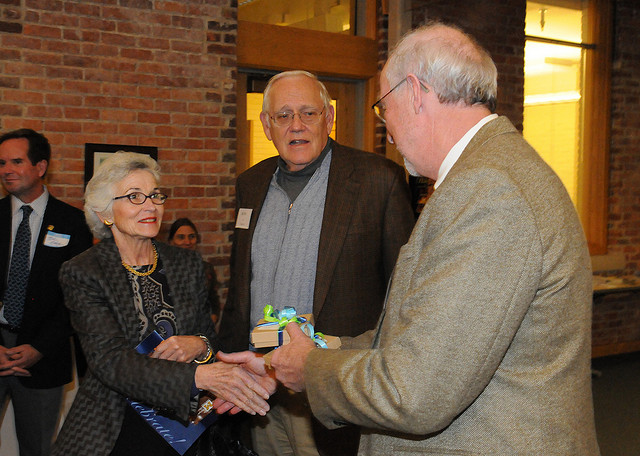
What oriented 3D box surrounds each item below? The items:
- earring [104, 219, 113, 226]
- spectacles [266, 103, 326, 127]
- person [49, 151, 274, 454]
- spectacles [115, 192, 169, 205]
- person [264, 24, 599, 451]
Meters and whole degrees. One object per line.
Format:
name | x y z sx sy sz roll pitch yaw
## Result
earring | -1.011 -0.026 2.908 0.028 0.031 0.013 7 57 42
spectacles | -0.126 -0.567 3.149 0.268 0.092 0.076 2 10 3
person | -0.691 0.318 2.811 0.939 1.284 0.666 1 10 -5
spectacles | -0.854 -0.137 2.921 0.105 0.027 0.105 -12 -11 42
person | 0.450 0.051 2.047 0.854 1.499 0.675 12 14 43
